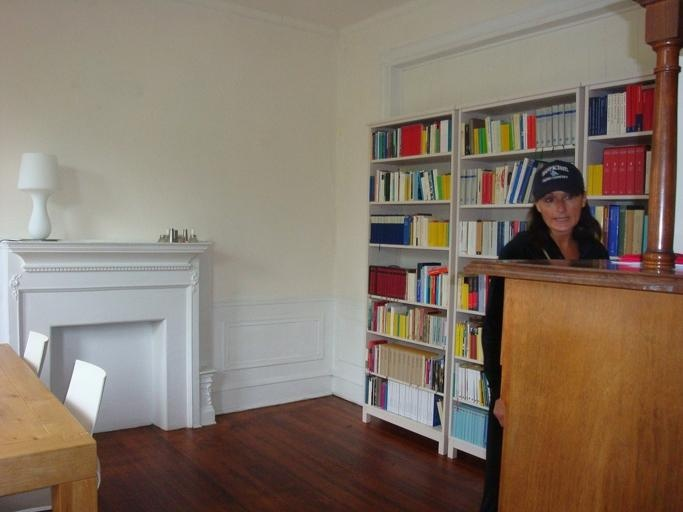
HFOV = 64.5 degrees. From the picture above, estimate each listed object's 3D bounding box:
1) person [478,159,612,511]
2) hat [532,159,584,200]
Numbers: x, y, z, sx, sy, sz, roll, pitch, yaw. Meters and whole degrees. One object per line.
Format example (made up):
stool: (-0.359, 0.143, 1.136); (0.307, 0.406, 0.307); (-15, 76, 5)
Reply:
person: (0.906, 0.429, 2.467); (0.528, 1.781, 0.737); (3, 4, 25)
hat: (1.029, -0.372, 2.571); (0.242, 0.173, 0.341); (-6, 4, 21)
